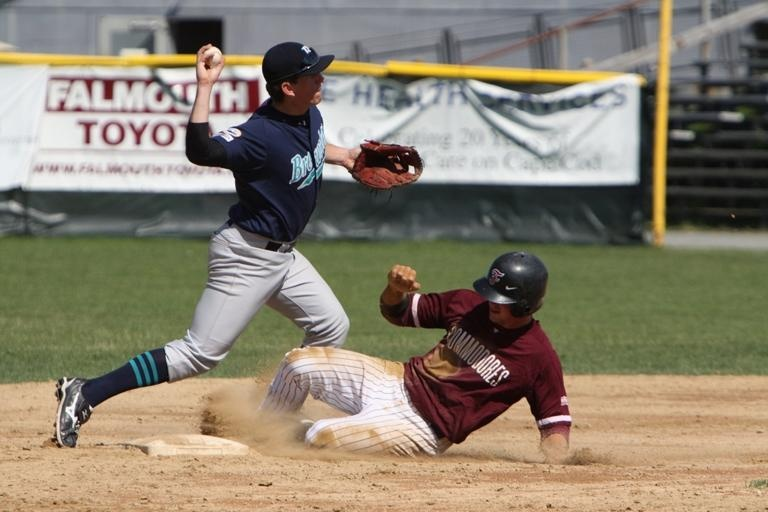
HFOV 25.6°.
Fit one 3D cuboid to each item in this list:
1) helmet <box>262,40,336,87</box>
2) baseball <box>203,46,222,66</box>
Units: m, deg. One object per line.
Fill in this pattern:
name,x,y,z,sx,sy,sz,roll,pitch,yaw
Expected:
helmet,-0.888,-2.026,17.397,0.612,0.277,0.408,-12,29,-1
baseball,-1.722,-2.029,17.267,0.171,0.154,0.183,23,-29,27
